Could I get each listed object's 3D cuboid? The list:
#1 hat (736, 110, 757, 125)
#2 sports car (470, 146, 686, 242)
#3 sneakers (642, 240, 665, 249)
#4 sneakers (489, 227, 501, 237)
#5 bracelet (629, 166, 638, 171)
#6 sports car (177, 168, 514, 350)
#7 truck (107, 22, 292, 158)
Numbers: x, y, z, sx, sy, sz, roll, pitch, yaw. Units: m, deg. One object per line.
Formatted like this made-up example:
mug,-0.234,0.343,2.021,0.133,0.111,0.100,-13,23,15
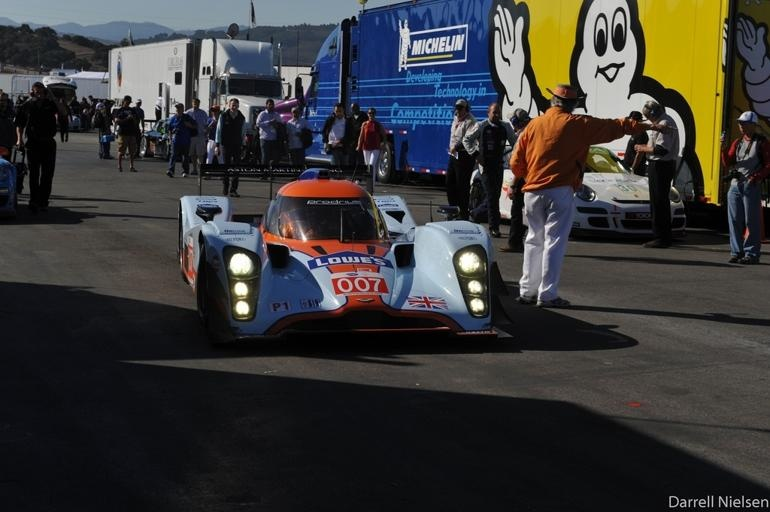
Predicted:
hat,5.913,-2.230,14.251,0.349,0.216,0.265,2,5,-8
sports car,3.830,-1.115,17.394,1.860,1.216,3.350,-2,6,-25
sneakers,4.830,-0.219,15.830,0.124,0.161,0.371,0,-1,-31
sneakers,2.049,-0.466,16.489,0.128,0.062,0.194,5,35,-2
bracelet,4.912,-1.745,17.442,0.100,0.060,0.165,1,0,-3
sports car,-0.550,-0.075,10.062,3.755,1.534,2.929,2,11,6
truck,-7.714,-7.871,41.119,4.365,5.890,13.430,-5,8,-34
